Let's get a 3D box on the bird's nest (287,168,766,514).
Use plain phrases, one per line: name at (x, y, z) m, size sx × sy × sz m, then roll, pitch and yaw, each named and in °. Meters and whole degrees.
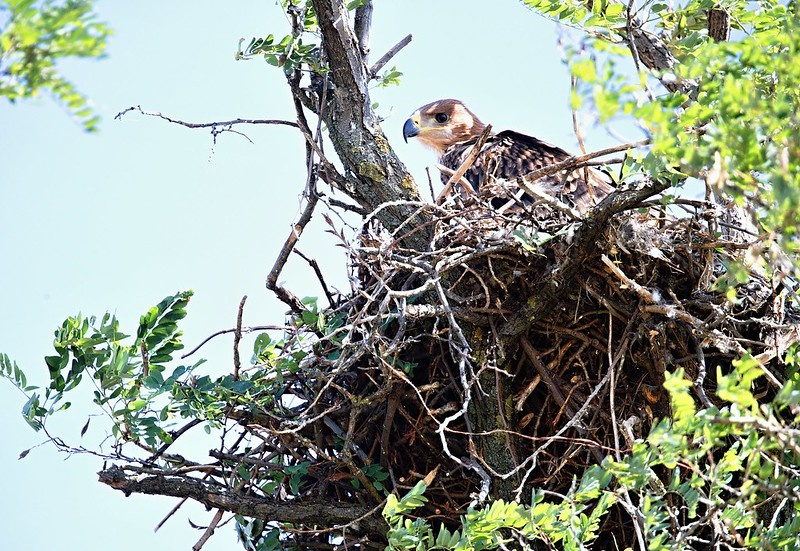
bird's nest at (0.547, 0.145, 4.744) m, size 1.333 × 0.749 × 1.332 m, roll 5°, pitch -46°, yaw -16°
